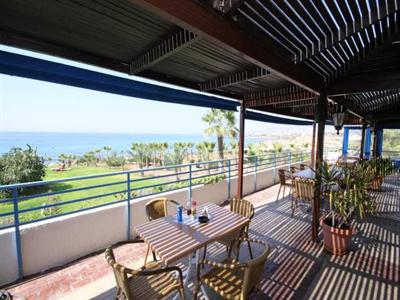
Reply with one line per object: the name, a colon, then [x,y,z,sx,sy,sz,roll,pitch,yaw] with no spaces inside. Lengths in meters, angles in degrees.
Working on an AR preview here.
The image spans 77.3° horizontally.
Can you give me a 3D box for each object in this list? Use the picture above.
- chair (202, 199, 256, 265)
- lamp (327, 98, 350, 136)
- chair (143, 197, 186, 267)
chair: [0.459,1.261,3.739,0.616,0.847,0.619,-7,10,-35]
lamp: [2.810,-0.679,5.046,0.356,0.791,0.291,5,-7,26]
chair: [-0.535,1.179,3.782,0.619,0.755,0.676,0,8,-2]
